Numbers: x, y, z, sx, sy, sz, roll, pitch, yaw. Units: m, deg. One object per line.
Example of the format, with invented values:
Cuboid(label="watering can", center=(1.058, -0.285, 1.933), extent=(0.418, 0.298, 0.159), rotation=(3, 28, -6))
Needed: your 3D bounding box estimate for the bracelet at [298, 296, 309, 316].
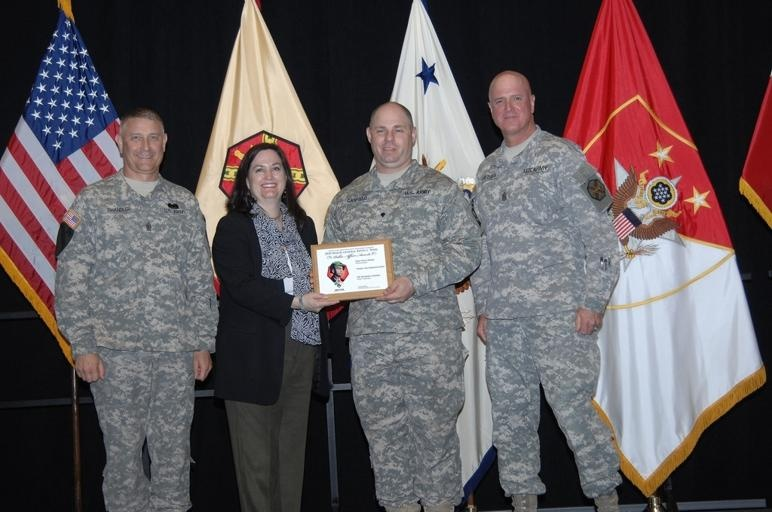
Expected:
Cuboid(label="bracelet", center=(-0.523, 0.314, 4.587), extent=(0.047, 0.130, 0.093), rotation=(-2, 8, -5))
